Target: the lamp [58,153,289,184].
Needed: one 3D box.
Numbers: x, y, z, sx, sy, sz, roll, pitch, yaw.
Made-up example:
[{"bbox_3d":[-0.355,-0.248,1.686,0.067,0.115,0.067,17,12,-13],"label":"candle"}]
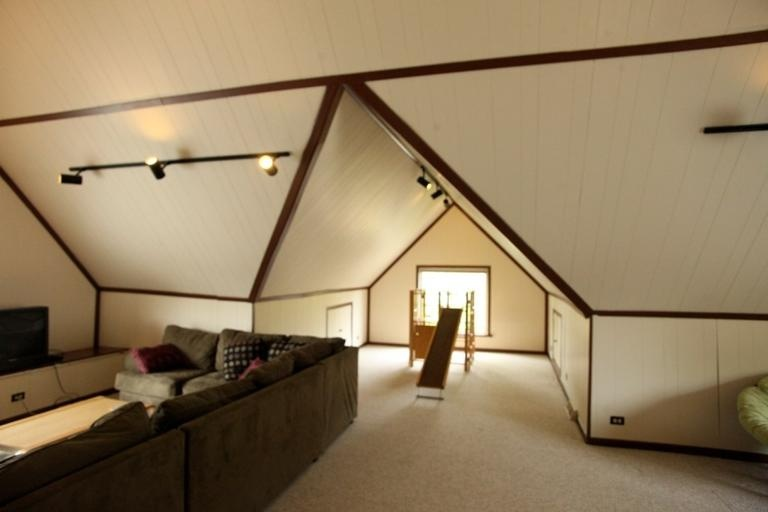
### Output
[{"bbox_3d":[-2.445,-1.011,5.802,2.867,0.414,0.427,4,10,13],"label":"lamp"}]
